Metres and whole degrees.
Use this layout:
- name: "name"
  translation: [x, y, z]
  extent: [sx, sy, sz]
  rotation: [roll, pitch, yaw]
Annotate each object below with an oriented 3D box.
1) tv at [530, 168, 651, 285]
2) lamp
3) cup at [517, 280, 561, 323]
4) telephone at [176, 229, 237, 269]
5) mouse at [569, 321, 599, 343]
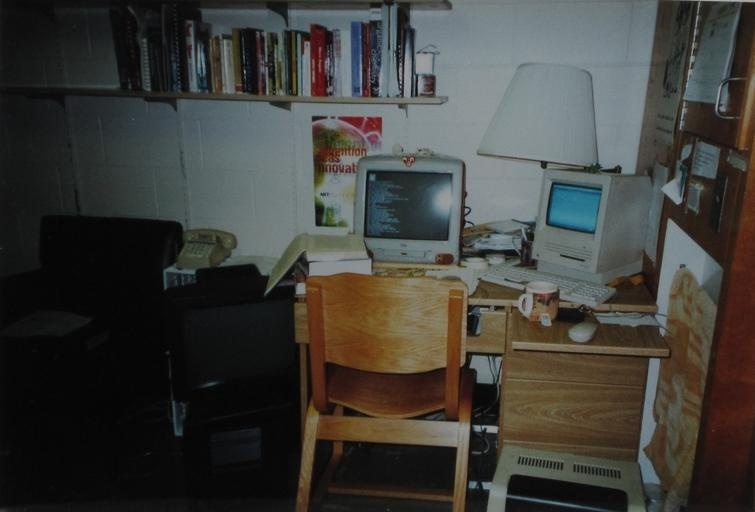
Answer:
- name: "tv"
  translation: [1.092, -0.173, 3.260]
  extent: [0.683, 0.665, 0.458]
  rotation: [-9, 13, -38]
- name: "lamp"
  translation: [0.930, -0.696, 3.280]
  extent: [0.688, 0.483, 0.656]
  rotation: [0, 10, -43]
- name: "cup"
  translation: [0.758, 0.212, 2.882]
  extent: [0.218, 0.183, 0.141]
  rotation: [-7, 13, -28]
- name: "telephone"
  translation: [-1.062, -0.053, 3.835]
  extent: [0.381, 0.200, 0.371]
  rotation: [-8, 16, -18]
- name: "mouse"
  translation: [0.952, 0.337, 2.743]
  extent: [0.215, 0.058, 0.088]
  rotation: [-14, 22, -41]
